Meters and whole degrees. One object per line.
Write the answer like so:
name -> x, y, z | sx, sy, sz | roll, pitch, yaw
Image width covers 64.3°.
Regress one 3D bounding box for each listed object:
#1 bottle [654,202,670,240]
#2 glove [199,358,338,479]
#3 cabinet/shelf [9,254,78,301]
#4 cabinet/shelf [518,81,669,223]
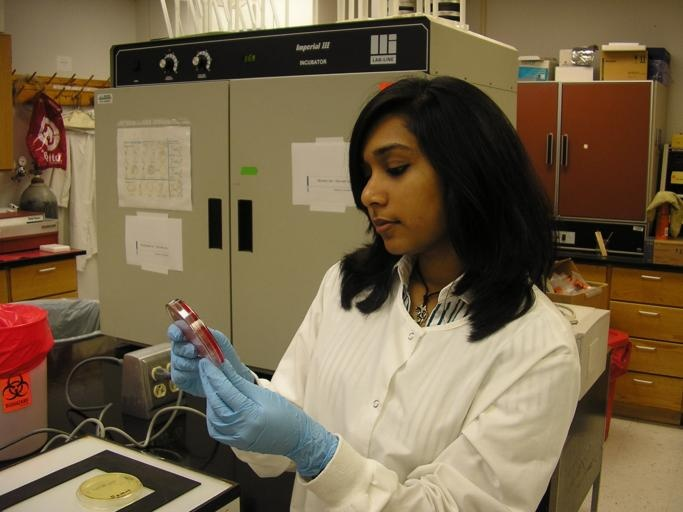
bottle -> 2.352, -0.251, 3.970 | 0.097, 0.244, 0.166 | 5, 10, 32
glove -> -0.151, 0.343, 1.132 | 0.289, 0.249, 0.109 | -1, 8, -4
cabinet/shelf -> -2.167, 0.175, 3.951 | 0.204, 0.262, 0.380 | 2, 7, 27
cabinet/shelf -> 1.940, -0.685, 4.509 | 0.971, 1.153, 0.768 | 6, -16, 20
